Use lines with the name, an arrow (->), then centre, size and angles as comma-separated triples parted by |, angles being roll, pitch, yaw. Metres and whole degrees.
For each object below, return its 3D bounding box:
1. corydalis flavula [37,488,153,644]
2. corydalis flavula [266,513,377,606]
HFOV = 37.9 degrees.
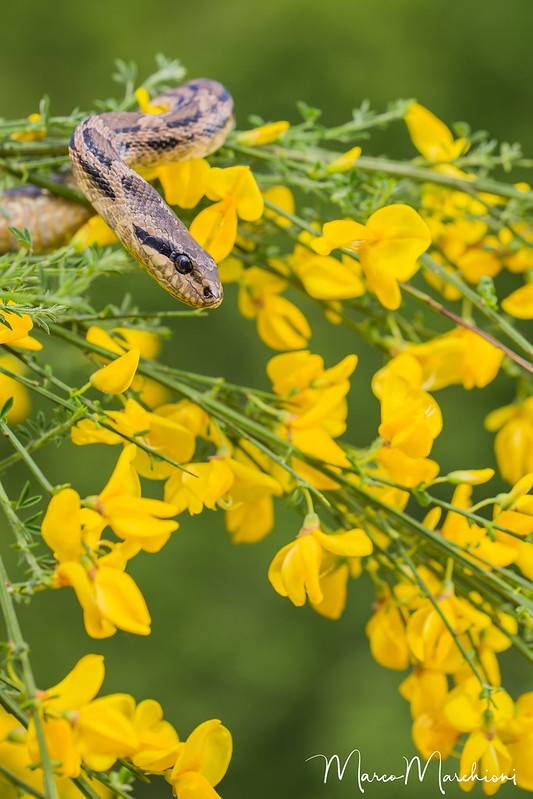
corydalis flavula -> -0.129, 0.119, 0.566 | 0.053, 0.123, 0.101 | -18, 35, -16
corydalis flavula -> 0.043, 0.123, 0.615 | 0.075, 0.064, 0.048 | -30, 40, -32
